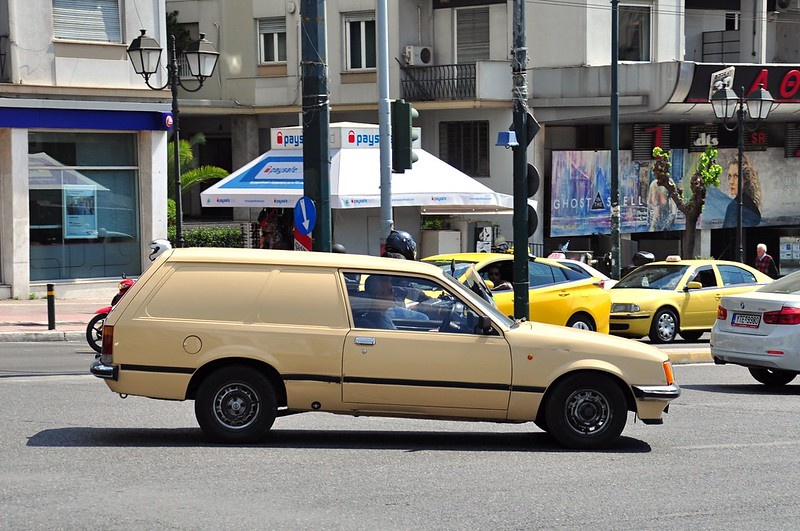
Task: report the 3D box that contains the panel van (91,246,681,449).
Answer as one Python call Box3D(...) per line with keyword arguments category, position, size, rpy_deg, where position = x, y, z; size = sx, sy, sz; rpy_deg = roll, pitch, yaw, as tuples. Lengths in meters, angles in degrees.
Box3D(category="panel van", position=(-0.522, 1.283, 19.208), size=(8.047, 2.638, 3.506), rpy_deg=(0, 2, -3))

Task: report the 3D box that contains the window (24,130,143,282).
Box3D(category="window", position=(-8.738, -1.627, 32.571), size=(3.860, 4.512, 0.055), rpy_deg=(-2, 1, -37))

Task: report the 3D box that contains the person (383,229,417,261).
Box3D(category="person", position=(0.027, -0.356, 21.826), size=(0.567, 0.477, 0.425), rpy_deg=(5, 0, -30))

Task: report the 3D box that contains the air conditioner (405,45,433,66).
Box3D(category="air conditioner", position=(0.637, -6.692, 38.734), size=(1.019, 0.616, 0.389), rpy_deg=(-6, 14, -28))

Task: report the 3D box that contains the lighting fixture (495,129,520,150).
Box3D(category="lighting fixture", position=(2.114, -2.464, 23.846), size=(0.428, 0.320, 0.440), rpy_deg=(1, 8, 11))

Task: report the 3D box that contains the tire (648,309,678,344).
Box3D(category="tire", position=(5.898, 1.338, 27.165), size=(0.683, 0.718, 0.228), rpy_deg=(-6, 3, -30))

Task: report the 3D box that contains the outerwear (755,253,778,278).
Box3D(category="outerwear", position=(9.556, 0.015, 31.528), size=(0.690, 0.727, 0.293), rpy_deg=(-2, -5, -26))

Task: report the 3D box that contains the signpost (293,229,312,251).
Box3D(category="signpost", position=(-1.903, -0.493, 23.460), size=(0.450, 0.644, 0.064), rpy_deg=(4, 26, 8))

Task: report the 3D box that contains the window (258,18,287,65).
Box3D(category="window", position=(-4.321, -7.495, 40.798), size=(1.509, 1.936, 0.155), rpy_deg=(1, -1, 9))

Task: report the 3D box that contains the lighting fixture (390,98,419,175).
Box3D(category="lighting fixture", position=(0.058, -2.580, 24.254), size=(0.525, 1.441, 0.792), rpy_deg=(1, 12, 0))

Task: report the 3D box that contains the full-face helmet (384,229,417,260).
Box3D(category="full-face helmet", position=(0.021, -0.361, 21.830), size=(0.555, 0.451, 0.423), rpy_deg=(10, -4, -33))

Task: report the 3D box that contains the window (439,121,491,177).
Box3D(category="window", position=(2.117, -3.708, 38.488), size=(2.108, 2.078, 0.160), rpy_deg=(4, 13, 12))

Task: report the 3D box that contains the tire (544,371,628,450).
Box3D(category="tire", position=(2.793, 2.133, 18.205), size=(1.083, 1.147, 0.398), rpy_deg=(2, 2, -1))

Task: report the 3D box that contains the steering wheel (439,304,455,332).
Box3D(category="steering wheel", position=(0.706, 0.802, 18.127), size=(0.119, 0.565, 0.156), rpy_deg=(8, -13, -6))

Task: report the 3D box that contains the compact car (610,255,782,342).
Box3D(category="compact car", position=(6.586, 0.738, 27.990), size=(3.897, 1.360, 1.795), rpy_deg=(0, -2, -36))

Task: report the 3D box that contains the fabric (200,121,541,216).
Box3D(category="fabric", position=(-1.315, -2.343, 31.449), size=(7.524, 2.587, 3.875), rpy_deg=(-2, 13, -14))

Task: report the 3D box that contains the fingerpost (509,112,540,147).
Box3D(category="fingerpost", position=(2.651, -2.706, 24.278), size=(0.782, 0.807, 0.188), rpy_deg=(9, -2, 7))
